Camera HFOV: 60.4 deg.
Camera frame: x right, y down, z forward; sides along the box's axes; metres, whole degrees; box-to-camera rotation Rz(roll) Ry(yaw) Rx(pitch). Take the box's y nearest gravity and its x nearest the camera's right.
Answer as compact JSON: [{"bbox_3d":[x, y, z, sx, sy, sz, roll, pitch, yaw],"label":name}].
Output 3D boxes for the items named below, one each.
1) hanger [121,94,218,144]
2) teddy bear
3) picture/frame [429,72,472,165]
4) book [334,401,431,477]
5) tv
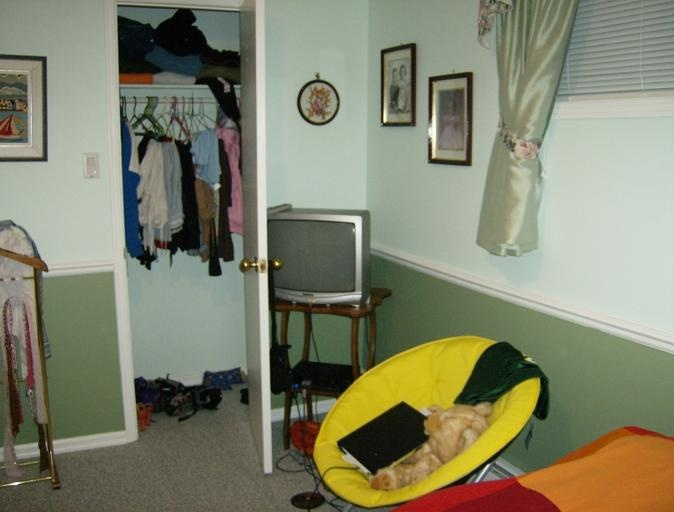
[{"bbox_3d":[-1.111,-0.922,3.830,0.607,0.288,0.263,-3,11,-20],"label":"hanger"},{"bbox_3d":[0.398,0.727,2.454,0.465,0.159,0.307,-33,16,-5],"label":"teddy bear"},{"bbox_3d":[0.606,-0.736,3.038,0.042,0.585,0.443,-5,8,-27],"label":"picture/frame"},{"bbox_3d":[0.219,0.809,2.589,0.297,0.075,0.223,-28,35,-24],"label":"book"},{"bbox_3d":[-0.031,-0.064,3.397,0.700,0.749,0.448,2,8,12],"label":"tv"}]
